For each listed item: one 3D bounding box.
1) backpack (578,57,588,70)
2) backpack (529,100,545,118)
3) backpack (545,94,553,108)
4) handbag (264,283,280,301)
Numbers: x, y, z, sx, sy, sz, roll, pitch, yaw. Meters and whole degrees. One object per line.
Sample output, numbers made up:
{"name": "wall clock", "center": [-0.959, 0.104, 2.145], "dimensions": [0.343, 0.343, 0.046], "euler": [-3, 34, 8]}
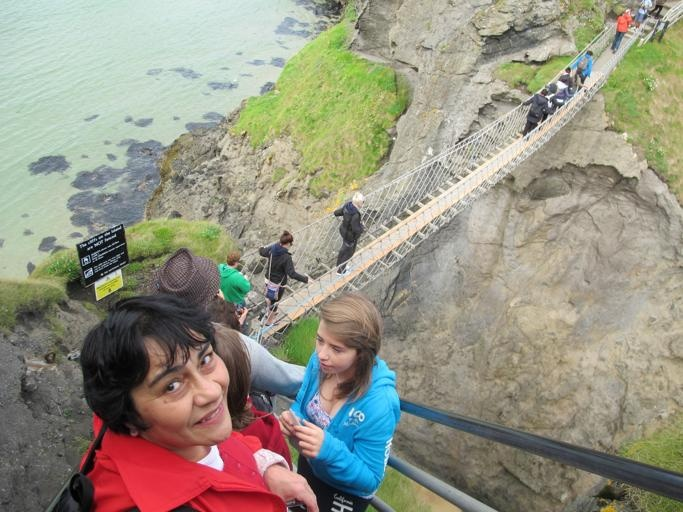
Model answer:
{"name": "backpack", "center": [6.858, -5.464, 15.415], "dimensions": [0.234, 0.360, 0.334], "euler": [12, 43, 24]}
{"name": "backpack", "center": [5.117, -3.847, 14.204], "dimensions": [0.193, 0.369, 0.302], "euler": [-26, 64, -36]}
{"name": "backpack", "center": [5.505, -4.083, 14.340], "dimensions": [0.130, 0.389, 0.276], "euler": [6, -6, 2]}
{"name": "handbag", "center": [-1.516, 0.757, 11.743], "dimensions": [0.232, 0.402, 0.222], "euler": [13, 57, 1]}
